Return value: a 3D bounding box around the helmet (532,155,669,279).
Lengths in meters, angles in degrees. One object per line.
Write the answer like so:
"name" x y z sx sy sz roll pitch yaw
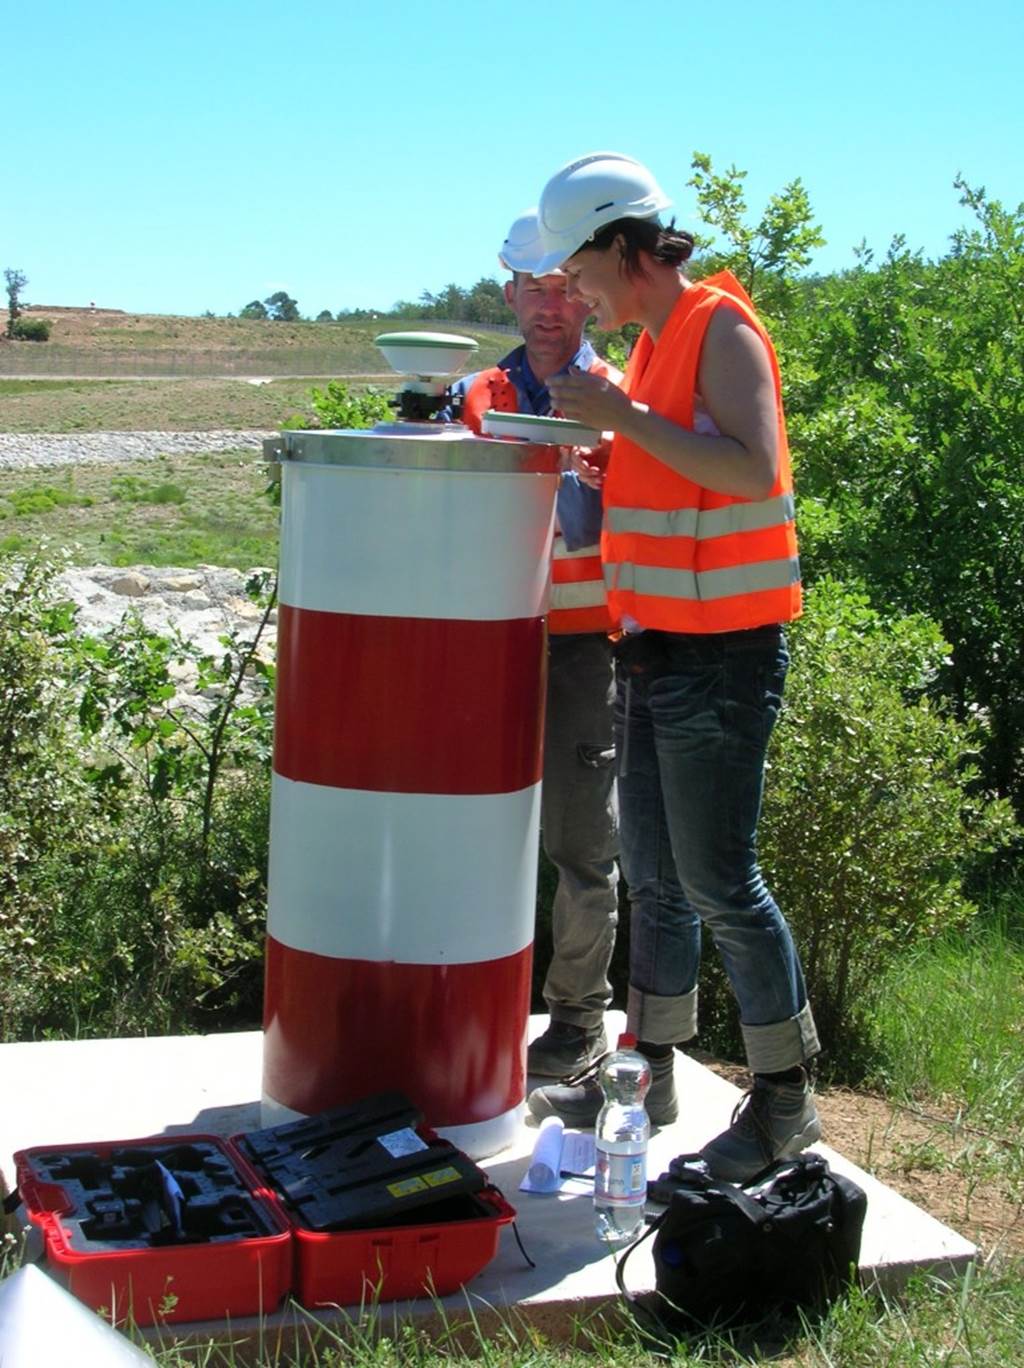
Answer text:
"helmet" 0.157 -0.876 2.224 0.213 0.206 0.118 7 -2 21

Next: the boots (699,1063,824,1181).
"boots" 0.484 0.877 2.380 0.286 0.168 0.103 -16 8 -19
